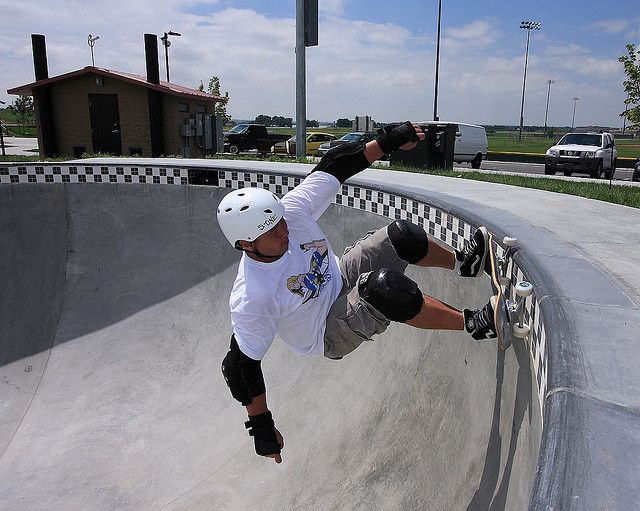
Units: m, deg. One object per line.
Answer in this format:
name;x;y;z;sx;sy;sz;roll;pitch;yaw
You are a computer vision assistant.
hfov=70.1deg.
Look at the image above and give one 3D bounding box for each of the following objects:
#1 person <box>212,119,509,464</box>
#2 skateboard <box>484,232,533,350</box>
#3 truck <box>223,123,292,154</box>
person;0.162;0.154;2.644;1.459;1.793;1.163;-3;15;-15
skateboard;1.017;0.195;2.513;0.170;0.527;0.716;4;16;14
truck;-3.497;-6.390;25.851;4.335;1.884;2.211;-6;11;-38
